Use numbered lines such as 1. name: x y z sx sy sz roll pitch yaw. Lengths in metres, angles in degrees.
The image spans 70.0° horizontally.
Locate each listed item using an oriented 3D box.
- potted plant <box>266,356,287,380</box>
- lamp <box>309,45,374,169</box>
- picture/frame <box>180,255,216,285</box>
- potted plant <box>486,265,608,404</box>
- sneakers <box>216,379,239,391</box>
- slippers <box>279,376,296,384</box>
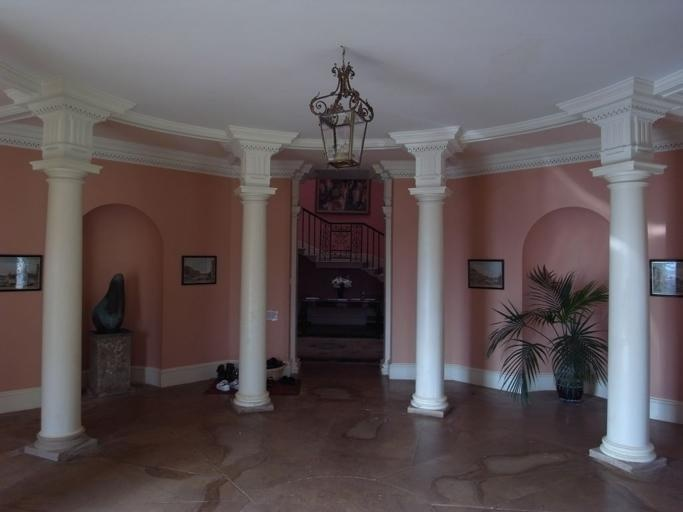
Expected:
1. potted plant: -1.206 2.090 9.092 0.362 0.178 0.432 1 8 9
2. lamp: 0.050 -1.453 4.871 0.538 1.085 0.547 2 10 -4
3. picture/frame: -2.636 0.264 8.951 0.529 0.461 0.045 0 -3 -40
4. potted plant: 3.441 1.253 8.041 2.053 1.969 2.141 0 -4 -1
5. sneakers: -1.941 2.241 8.436 0.226 0.144 0.415 1 0 -24
6. slippers: -0.955 2.225 8.774 0.325 0.116 0.154 0 -2 18
